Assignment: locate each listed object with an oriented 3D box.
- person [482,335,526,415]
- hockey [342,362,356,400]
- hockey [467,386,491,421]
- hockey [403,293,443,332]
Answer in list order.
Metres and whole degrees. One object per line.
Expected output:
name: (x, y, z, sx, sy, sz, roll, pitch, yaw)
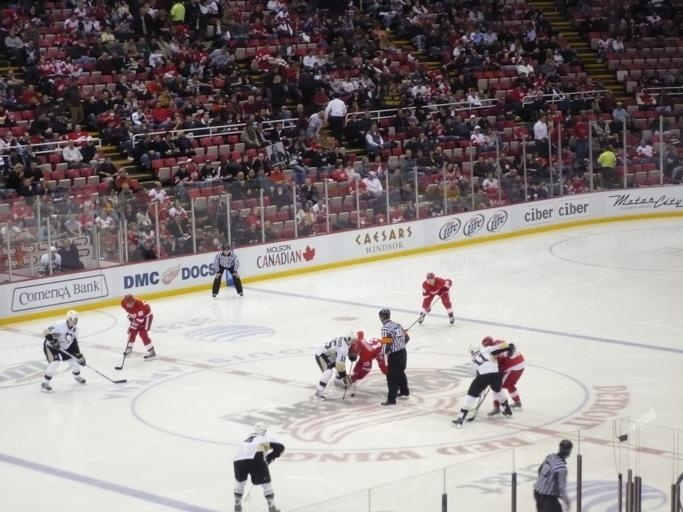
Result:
person: (3.075, 2.279, 22.177, 0.992, 1.506, 0.652, -6, -3, 30)
hockey: (0.150, 2.556, 23.380, 0.183, 0.773, 0.218, 14, -16, 1)
hockey: (2.621, 2.911, 22.112, 0.281, 0.888, 0.157, 25, -1, -18)
hockey: (1.969, 1.379, 27.643, 0.123, 1.040, 0.158, 42, 2, 22)
